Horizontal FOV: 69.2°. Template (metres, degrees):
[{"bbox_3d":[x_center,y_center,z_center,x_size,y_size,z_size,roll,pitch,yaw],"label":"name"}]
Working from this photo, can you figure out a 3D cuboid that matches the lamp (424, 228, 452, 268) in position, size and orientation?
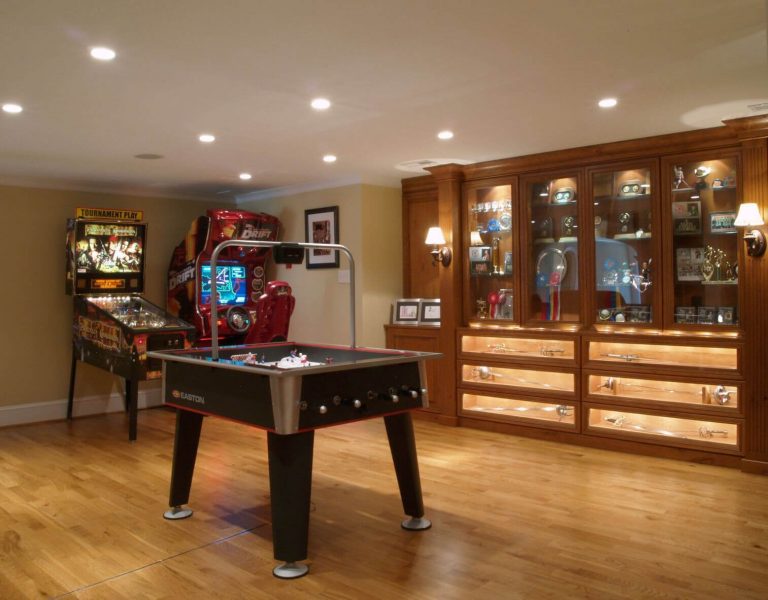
[{"bbox_3d":[0.606,-0.596,6.359,0.275,0.435,0.504,-1,4,-2],"label":"lamp"}]

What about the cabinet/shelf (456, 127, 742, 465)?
[{"bbox_3d":[2.120,-0.054,5.370,2.942,2.533,0.836,5,3,36],"label":"cabinet/shelf"}]

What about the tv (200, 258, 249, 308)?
[{"bbox_3d":[-1.965,-0.195,6.850,0.160,0.551,0.639,2,5,39],"label":"tv"}]

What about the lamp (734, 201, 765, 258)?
[{"bbox_3d":[3.013,-0.580,4.560,0.205,0.459,0.243,2,5,40],"label":"lamp"}]
